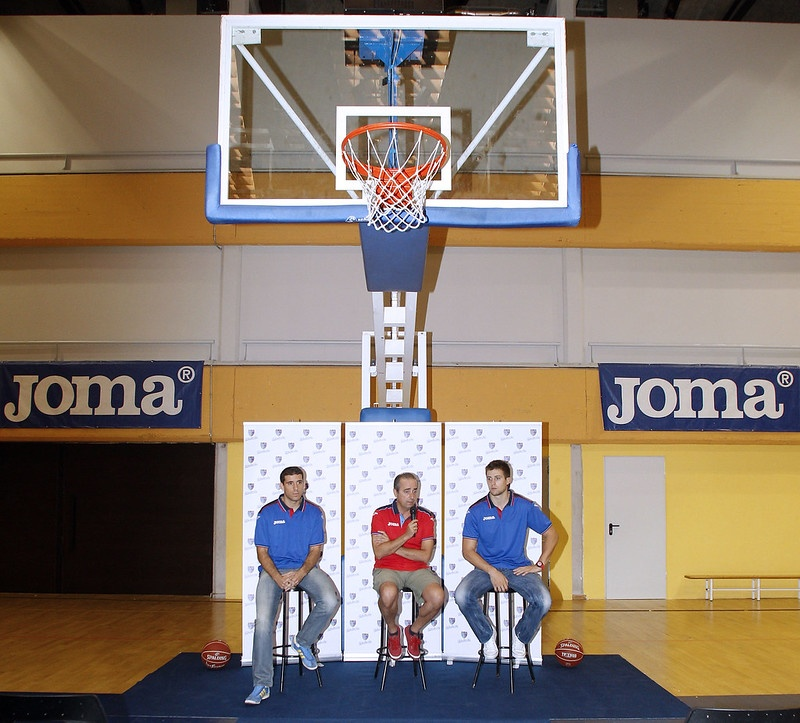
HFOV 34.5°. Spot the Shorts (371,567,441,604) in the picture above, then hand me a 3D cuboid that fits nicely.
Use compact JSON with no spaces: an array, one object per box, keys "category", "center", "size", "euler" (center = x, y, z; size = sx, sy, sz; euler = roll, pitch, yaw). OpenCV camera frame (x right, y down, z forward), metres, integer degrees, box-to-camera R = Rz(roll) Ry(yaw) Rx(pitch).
[{"category":"Shorts","center":[0.070,2.381,13.454],"size":[0.702,0.384,0.404],"euler":[0,6,-1]}]

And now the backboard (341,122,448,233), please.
[{"category":"backboard","center":[-0.044,-1.753,12.835],"size":[1.025,0.852,1.117],"euler":[2,-15,-5]}]

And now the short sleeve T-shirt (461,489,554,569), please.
[{"category":"short sleeve T-shirt","center":[1.148,1.871,13.952],"size":[1.126,1.010,0.616],"euler":[-1,-13,0]}]

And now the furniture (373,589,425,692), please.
[{"category":"furniture","center":[-0.019,2.833,13.633],"size":[0.532,0.932,0.536],"euler":[0,-4,-15]}]

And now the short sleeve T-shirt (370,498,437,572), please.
[{"category":"short sleeve T-shirt","center":[0.021,1.836,13.722],"size":[0.648,0.710,0.367],"euler":[4,12,0]}]

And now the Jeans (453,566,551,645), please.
[{"category":"Jeans","center":[1.093,2.555,13.706],"size":[0.928,0.944,0.759],"euler":[-2,-37,5]}]

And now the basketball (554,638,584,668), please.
[{"category":"basketball","center":[1.840,3.163,14.053],"size":[0.307,0.283,0.263],"euler":[0,-7,-3]}]

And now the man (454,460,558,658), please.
[{"category":"man","center":[1.135,2.050,13.545],"size":[1.126,1.895,1.116],"euler":[-3,8,1]}]

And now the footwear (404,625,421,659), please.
[{"category":"footwear","center":[0.135,2.951,13.482],"size":[0.137,0.357,0.145],"euler":[4,-50,-16]}]

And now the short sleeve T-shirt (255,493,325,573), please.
[{"category":"short sleeve T-shirt","center":[-1.172,1.827,13.714],"size":[0.731,0.737,0.319],"euler":[3,-5,-10]}]
